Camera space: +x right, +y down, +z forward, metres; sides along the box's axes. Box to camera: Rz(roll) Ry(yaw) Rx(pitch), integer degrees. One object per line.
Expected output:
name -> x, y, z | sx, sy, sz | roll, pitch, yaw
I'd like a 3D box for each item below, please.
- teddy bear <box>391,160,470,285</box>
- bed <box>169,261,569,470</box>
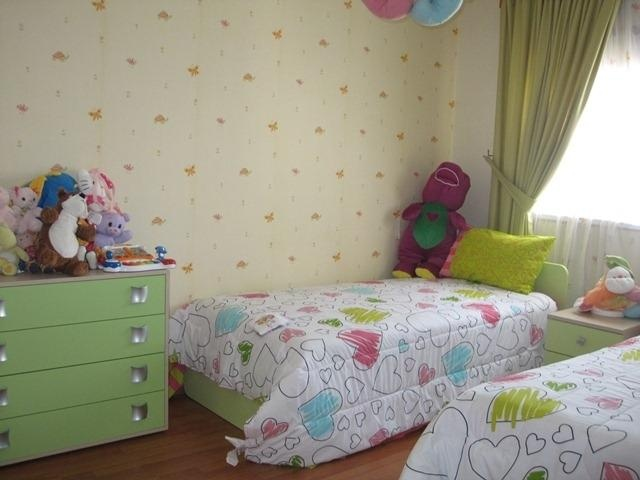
teddy bear -> 0.948, -0.121, 4.242 | 0.501, 1.085, 0.319 | 14, -19, 26
bed -> 0.366, 0.625, 3.101 | 1.782, 0.703, 1.066 | -5, 11, -31
